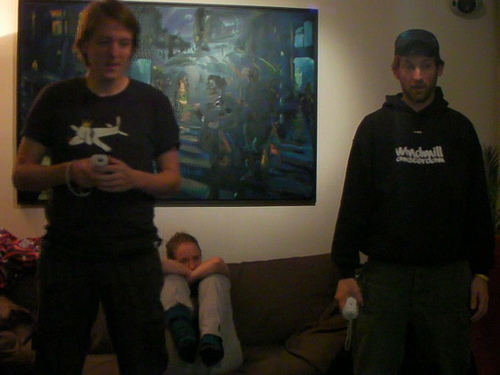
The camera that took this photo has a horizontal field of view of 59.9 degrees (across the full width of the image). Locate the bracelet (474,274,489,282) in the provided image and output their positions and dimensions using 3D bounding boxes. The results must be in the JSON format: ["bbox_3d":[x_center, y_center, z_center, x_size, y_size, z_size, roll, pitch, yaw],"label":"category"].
[{"bbox_3d":[1.024,0.405,1.917,0.034,0.008,0.032,30,-4,42],"label":"bracelet"}]

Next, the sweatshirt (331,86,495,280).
[{"bbox_3d":[0.739,-0.020,1.964,0.708,0.859,0.308,1,9,11],"label":"sweatshirt"}]

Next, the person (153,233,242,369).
[{"bbox_3d":[-0.291,0.632,2.330,0.379,0.514,0.884,-15,23,-11],"label":"person"}]

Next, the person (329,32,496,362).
[{"bbox_3d":[0.732,0.023,1.901,0.584,1.422,0.485,-7,11,-36],"label":"person"}]

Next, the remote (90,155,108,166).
[{"bbox_3d":[-0.581,-0.105,1.673,0.052,0.027,0.038,-7,22,-30],"label":"remote"}]

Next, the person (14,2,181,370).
[{"bbox_3d":[-0.621,-0.020,1.771,0.656,1.466,0.380,-2,9,-10],"label":"person"}]

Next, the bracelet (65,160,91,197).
[{"bbox_3d":[-0.680,-0.026,1.701,0.026,0.111,0.107,0,15,34],"label":"bracelet"}]

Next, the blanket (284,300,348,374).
[{"bbox_3d":[0.385,0.863,2.474,0.310,0.190,0.357,-7,12,-35],"label":"blanket"}]

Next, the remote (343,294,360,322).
[{"bbox_3d":[0.454,0.547,1.939,0.071,0.111,0.029,5,7,-5],"label":"remote"}]
